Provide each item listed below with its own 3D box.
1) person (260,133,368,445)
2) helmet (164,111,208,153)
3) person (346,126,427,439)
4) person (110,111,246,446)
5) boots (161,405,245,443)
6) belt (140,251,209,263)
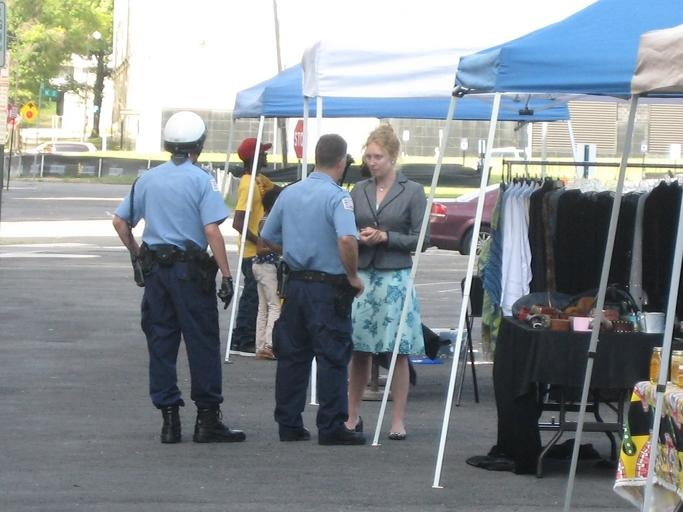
[{"bbox_3d":[-0.148,0.258,8.415,0.968,2.400,0.755,6,6,36],"label":"person"},{"bbox_3d":[-1.257,-0.959,8.389,0.304,0.296,0.363,3,35,7],"label":"helmet"},{"bbox_3d":[0.295,0.233,8.537,0.718,2.409,0.808,4,4,23],"label":"person"},{"bbox_3d":[-1.214,0.167,8.202,1.069,2.548,0.549,4,5,6],"label":"person"},{"bbox_3d":[-1.082,1.322,8.312,0.765,0.324,0.248,0,-2,-10],"label":"boots"},{"bbox_3d":[-1.275,0.013,8.076,0.537,0.100,0.122,4,5,1],"label":"belt"}]
